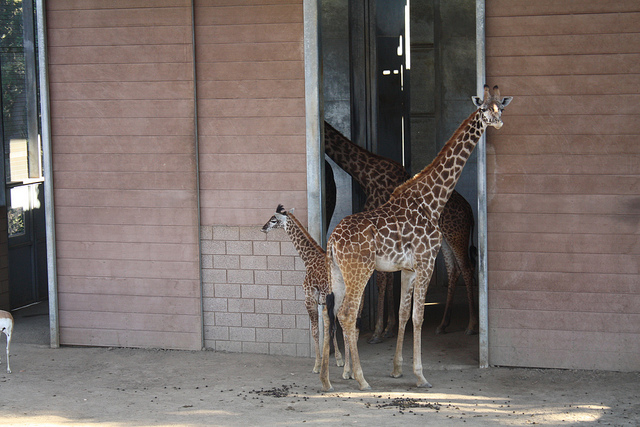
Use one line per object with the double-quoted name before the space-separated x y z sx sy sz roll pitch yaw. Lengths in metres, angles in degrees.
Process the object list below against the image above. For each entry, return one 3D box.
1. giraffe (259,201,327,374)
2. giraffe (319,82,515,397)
"giraffe" -0.187 0.920 13.198 0.813 2.058 0.770 -3 -7 20
"giraffe" 1.238 0.330 13.581 2.452 3.755 1.938 -1 -6 5
